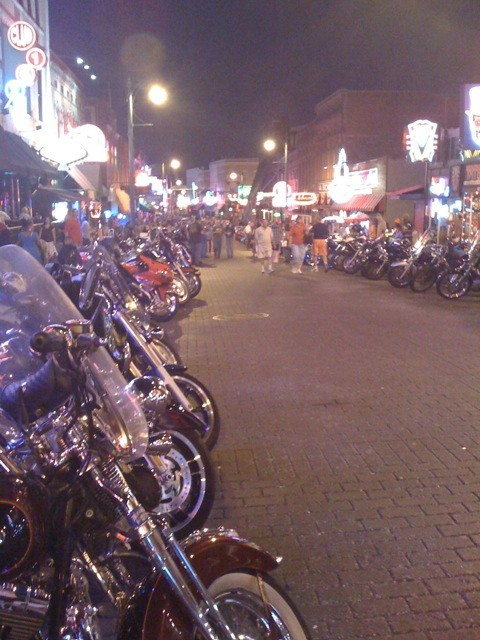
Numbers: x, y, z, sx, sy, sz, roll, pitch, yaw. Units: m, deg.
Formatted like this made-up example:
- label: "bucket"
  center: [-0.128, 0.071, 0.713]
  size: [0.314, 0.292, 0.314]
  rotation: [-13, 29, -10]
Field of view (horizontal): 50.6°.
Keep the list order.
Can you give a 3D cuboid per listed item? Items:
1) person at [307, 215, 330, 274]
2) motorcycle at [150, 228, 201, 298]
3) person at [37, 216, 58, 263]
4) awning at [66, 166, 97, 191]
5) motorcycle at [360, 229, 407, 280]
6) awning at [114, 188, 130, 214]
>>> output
- label: "person"
  center: [3.927, -3.676, 25.275]
  size: [0.795, 3.093, 0.842]
  rotation: [3, -16, 2]
- label: "motorcycle"
  center: [-2.006, -1.732, 16.410]
  size: [2.204, 2.068, 1.627]
  rotation: [3, 25, -2]
- label: "person"
  center: [-7.917, -3.218, 20.912]
  size: [0.521, 2.166, 0.648]
  rotation: [1, 32, -15]
- label: "awning"
  center: [-11.230, -9.830, 35.673]
  size: [0.925, 2.059, 6.394]
  rotation: [-6, 18, -3]
- label: "motorcycle"
  center: [5.929, -2.656, 21.092]
  size: [0.686, 2.017, 2.047]
  rotation: [-5, 7, -36]
- label: "awning"
  center: [-13.794, -13.785, 59.200]
  size: [1.501, 3.400, 8.930]
  rotation: [-2, 7, -13]
